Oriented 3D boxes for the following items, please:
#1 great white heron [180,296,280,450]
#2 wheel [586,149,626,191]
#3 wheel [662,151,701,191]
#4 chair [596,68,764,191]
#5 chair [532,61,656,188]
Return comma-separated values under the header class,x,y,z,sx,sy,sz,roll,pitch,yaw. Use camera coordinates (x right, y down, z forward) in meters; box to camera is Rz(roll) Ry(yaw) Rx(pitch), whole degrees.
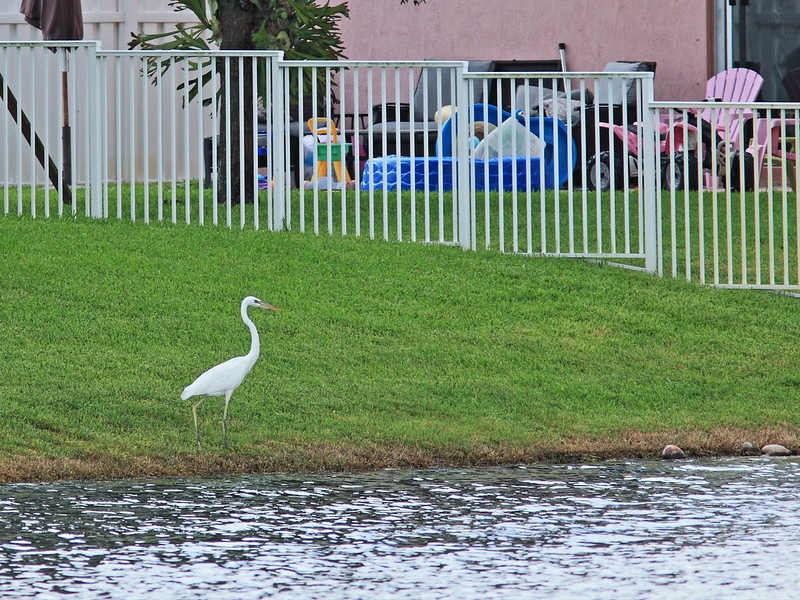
class,x,y,z,sx,sy,sz,roll,pitch,yaw
great white heron,-1.530,0.648,20.453,0.843,1.253,1.362,-2,5,-5
wheel,2.299,-1.438,25.607,0.459,0.520,0.209,8,13,40
wheel,3.107,-1.414,25.290,0.152,0.501,0.447,-11,13,-40
chair,3.302,-2.008,26.057,1.339,1.555,2.120,1,2,43
chair,2.470,-2.024,26.753,1.661,1.980,1.374,-2,3,-36
